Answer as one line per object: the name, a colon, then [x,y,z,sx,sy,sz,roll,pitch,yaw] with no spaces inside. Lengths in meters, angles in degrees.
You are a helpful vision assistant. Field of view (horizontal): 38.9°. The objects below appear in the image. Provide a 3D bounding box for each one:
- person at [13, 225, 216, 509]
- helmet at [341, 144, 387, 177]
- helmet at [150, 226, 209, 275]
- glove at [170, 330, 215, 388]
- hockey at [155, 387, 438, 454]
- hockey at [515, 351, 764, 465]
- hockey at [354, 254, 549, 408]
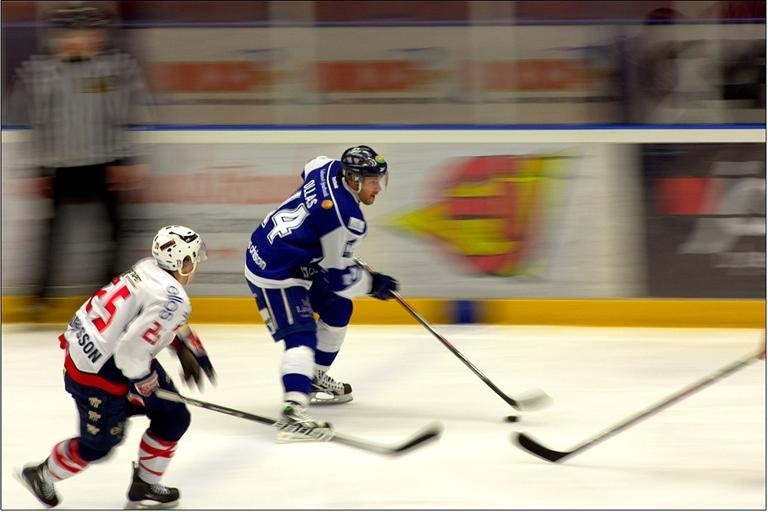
person: [-1.700,0.826,6.768,0.955,1.551,0.410,-2,14,-16]
helmet: [-0.157,-0.647,7.589,0.292,0.172,0.201,24,21,6]
helmet: [-1.310,-0.061,6.948,0.366,0.288,0.302,-13,21,-36]
glove: [-1.223,0.653,6.963,0.123,0.384,0.265,-38,33,-16]
hockey: [-0.590,1.139,7.424,1.553,0.143,0.191,12,44,-5]
hockey: [1.840,1.117,7.804,1.611,0.110,0.421,-19,62,-4]
hockey: [0.581,0.638,8.815,1.531,0.175,0.210,39,46,5]
